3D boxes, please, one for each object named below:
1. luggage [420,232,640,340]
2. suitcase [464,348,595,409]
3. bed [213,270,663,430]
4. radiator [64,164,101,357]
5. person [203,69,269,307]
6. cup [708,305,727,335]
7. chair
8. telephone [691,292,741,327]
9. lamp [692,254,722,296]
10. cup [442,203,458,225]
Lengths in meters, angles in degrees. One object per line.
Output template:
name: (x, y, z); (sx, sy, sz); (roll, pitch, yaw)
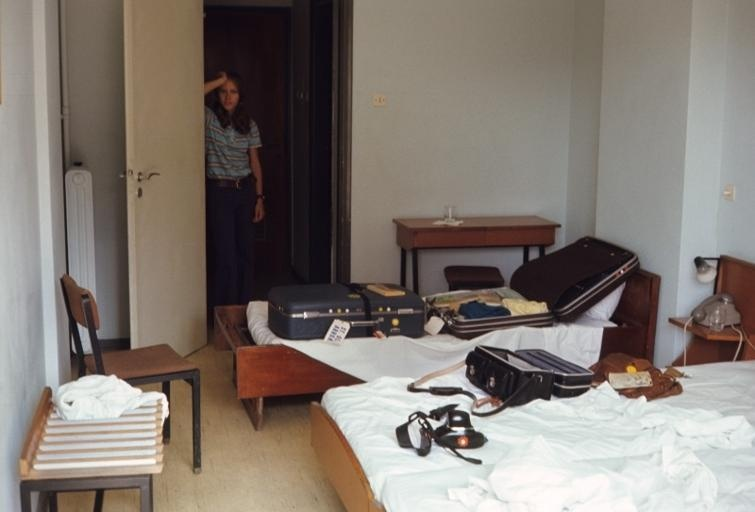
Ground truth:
luggage: (1.178, 0.224, 4.541); (1.092, 0.384, 0.823); (-5, 6, -9)
suitcase: (0.805, 0.617, 3.363); (0.560, 0.184, 0.560); (1, 7, -8)
bed: (0.351, 0.369, 4.541); (2.433, 0.964, 1.345); (-2, 5, -12)
radiator: (-2.419, 0.007, 5.067); (0.184, 1.038, 0.147); (27, 25, 18)
person: (-1.357, -0.580, 5.789); (0.465, 2.165, 0.455); (-1, 13, -9)
cup: (2.161, 0.397, 3.947); (0.063, 0.145, 0.075); (-1, 13, -9)
chair: (-1.419, 0.668, 3.576); (0.702, 1.023, 0.593); (2, 4, -31)
telephone: (2.166, 0.343, 3.978); (0.269, 0.130, 0.158); (-9, 17, -18)
lamp: (2.141, 0.099, 4.088); (0.207, 0.205, 0.144); (-14, 16, 15)
cup: (0.645, -0.375, 5.540); (0.167, 0.258, 0.160); (0, 11, 0)
